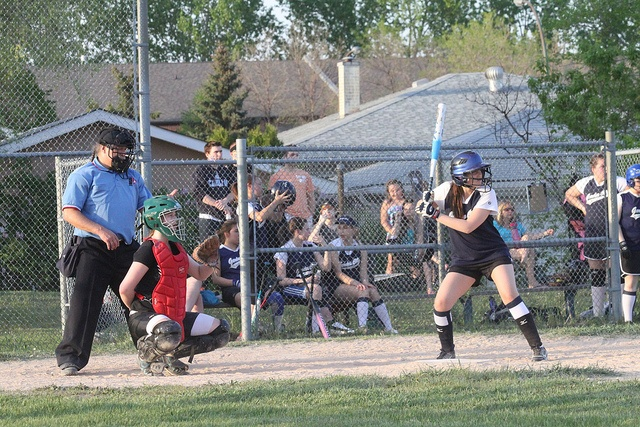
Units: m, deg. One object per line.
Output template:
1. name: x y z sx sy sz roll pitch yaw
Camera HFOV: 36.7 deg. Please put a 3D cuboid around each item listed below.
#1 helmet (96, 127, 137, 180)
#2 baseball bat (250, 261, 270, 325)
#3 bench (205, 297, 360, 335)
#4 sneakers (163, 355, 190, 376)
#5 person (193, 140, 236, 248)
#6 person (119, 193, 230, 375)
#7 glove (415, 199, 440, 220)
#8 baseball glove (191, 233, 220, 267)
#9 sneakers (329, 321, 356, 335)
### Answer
1. helmet: -2.917 -0.940 13.516 0.540 0.604 0.479 17 5 15
2. baseball bat: -0.990 1.304 15.498 0.176 0.973 0.138 3 -35 2
3. bench: -0.367 1.834 15.489 2.887 0.506 0.387 7 16 -24
4. sneakers: -2.003 2.107 13.279 0.341 0.144 0.214 29 13 0
5. person: -1.714 -0.009 16.446 0.778 2.409 0.732 -2 1 -10
6. person: -2.053 0.990 13.307 1.255 2.459 0.768 -11 15 -41
7. glove: 1.495 -0.072 13.438 0.322 0.262 0.232 1 11 7
8. baseball glove: -1.585 0.535 13.505 0.345 0.431 0.179 56 5 -41
9. sneakers: 0.333 1.888 15.644 0.267 0.092 0.201 9 2 28
